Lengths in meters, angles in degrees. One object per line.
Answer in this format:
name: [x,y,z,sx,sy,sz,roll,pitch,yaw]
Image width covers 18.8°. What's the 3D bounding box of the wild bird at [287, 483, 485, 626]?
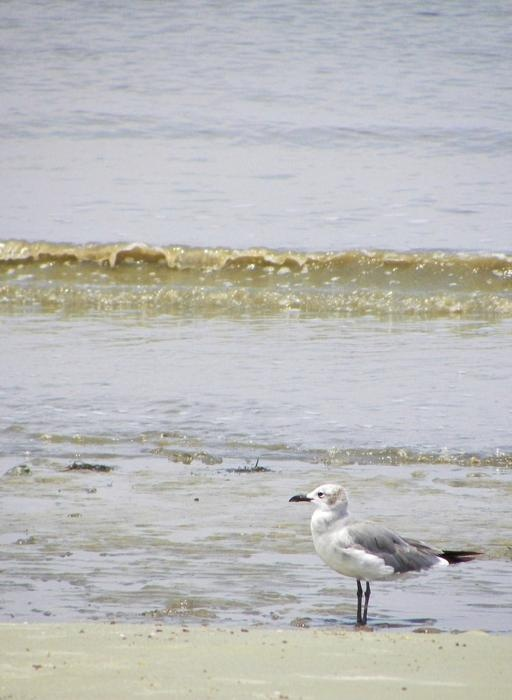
wild bird: [0.708,1.138,8.456,1.166,0.788,0.351,4,-3,-17]
